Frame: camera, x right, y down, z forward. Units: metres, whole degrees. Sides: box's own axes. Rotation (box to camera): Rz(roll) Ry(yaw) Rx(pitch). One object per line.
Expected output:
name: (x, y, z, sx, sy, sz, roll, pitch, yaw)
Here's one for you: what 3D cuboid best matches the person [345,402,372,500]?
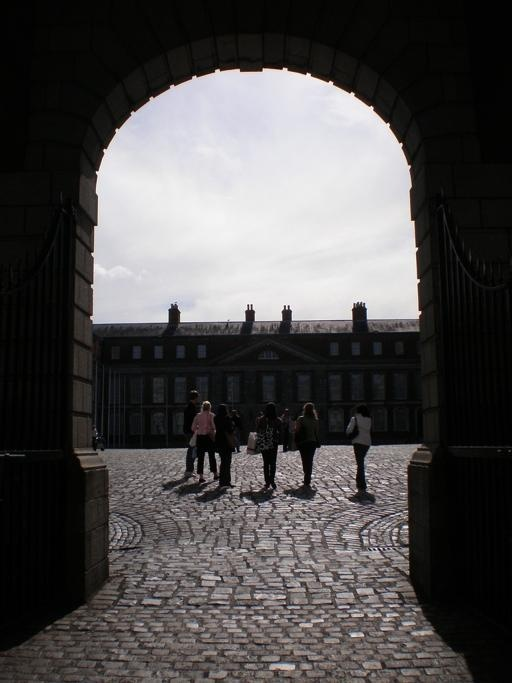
person: (1.740, 1.822, 9.767, 0.378, 1.479, 1.401, -3, -7, 10)
